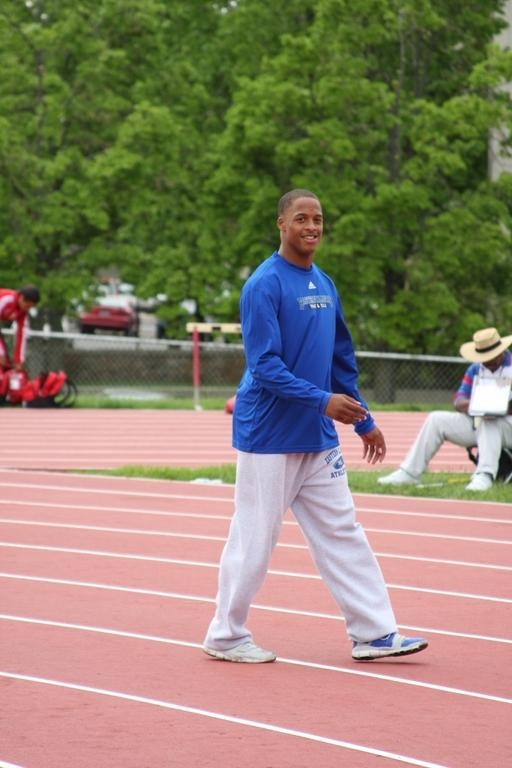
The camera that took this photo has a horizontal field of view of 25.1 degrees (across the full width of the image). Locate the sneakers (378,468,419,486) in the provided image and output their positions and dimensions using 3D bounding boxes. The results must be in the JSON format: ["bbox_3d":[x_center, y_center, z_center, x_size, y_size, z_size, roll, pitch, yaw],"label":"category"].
[{"bbox_3d":[1.142,0.747,9.250,0.349,0.150,0.126,1,-9,6],"label":"sneakers"}]

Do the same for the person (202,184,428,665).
[{"bbox_3d":[0.196,0.164,4.252,0.690,1.771,0.575,0,4,-21],"label":"person"}]

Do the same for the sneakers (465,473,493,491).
[{"bbox_3d":[1.710,0.742,8.797,0.191,0.118,0.242,3,5,10],"label":"sneakers"}]
